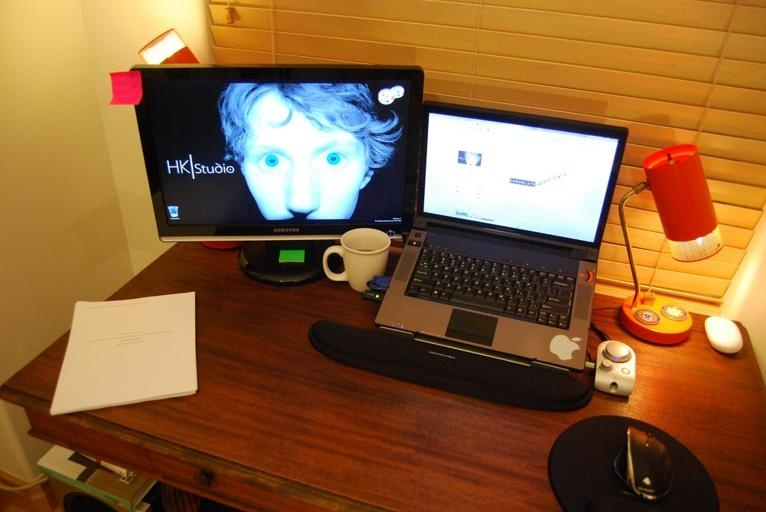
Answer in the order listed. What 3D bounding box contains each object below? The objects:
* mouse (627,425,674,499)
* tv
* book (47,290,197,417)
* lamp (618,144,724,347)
[{"bbox_3d":[0.575,0.464,1.245,0.115,0.035,0.149,14,46,5],"label":"mouse"},{"bbox_3d":[-0.268,-0.232,1.581,0.677,0.488,0.246,0,34,-4],"label":"tv"},{"bbox_3d":[-0.636,0.257,1.450,0.302,0.040,0.302,-4,46,-12],"label":"book"},{"bbox_3d":[0.793,-0.035,1.554,0.308,0.592,0.229,-1,44,20],"label":"lamp"}]
